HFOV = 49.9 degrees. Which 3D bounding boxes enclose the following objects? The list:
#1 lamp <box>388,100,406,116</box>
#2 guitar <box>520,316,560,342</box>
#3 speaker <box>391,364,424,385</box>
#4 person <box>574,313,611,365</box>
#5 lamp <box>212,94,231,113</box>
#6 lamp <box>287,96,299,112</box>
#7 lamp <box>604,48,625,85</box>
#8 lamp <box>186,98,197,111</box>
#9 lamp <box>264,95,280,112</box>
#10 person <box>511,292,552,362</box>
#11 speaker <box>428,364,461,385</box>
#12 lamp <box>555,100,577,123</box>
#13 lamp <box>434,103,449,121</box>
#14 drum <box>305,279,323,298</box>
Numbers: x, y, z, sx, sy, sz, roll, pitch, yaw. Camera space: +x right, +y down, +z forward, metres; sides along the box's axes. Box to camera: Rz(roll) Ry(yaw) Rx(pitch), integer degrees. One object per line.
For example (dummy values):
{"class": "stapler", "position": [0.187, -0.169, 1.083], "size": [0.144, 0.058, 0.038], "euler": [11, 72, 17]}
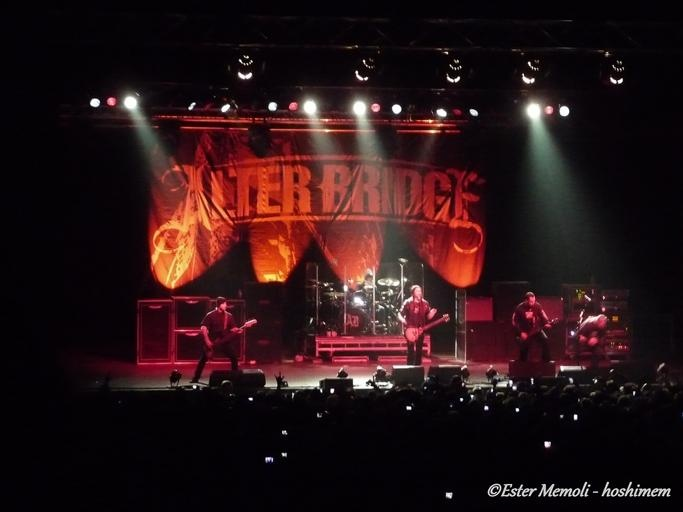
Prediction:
{"class": "lamp", "position": [1.067, -2.817, 14.157], "size": [0.260, 0.288, 0.464], "euler": [-1, 13, 3]}
{"class": "guitar", "position": [3.742, 1.385, 13.909], "size": [0.075, 0.229, 0.558], "euler": [-6, -24, -24]}
{"class": "speaker", "position": [1.002, 1.824, 11.239], "size": [0.504, 0.337, 0.271], "euler": [1, 1, -5]}
{"class": "person", "position": [4.900, 1.659, 14.354], "size": [0.627, 1.063, 1.221], "euler": [3, 13, 20]}
{"class": "lamp", "position": [-2.304, -2.923, 14.003], "size": [0.321, 0.256, 0.467], "euler": [3, 37, -1]}
{"class": "lamp", "position": [-0.953, -2.920, 14.076], "size": [0.253, 0.283, 0.110], "euler": [2, 0, -2]}
{"class": "lamp", "position": [4.891, -3.316, 13.082], "size": [0.369, 0.556, 0.190], "euler": [3, 14, 19]}
{"class": "lamp", "position": [-2.902, -2.880, 14.134], "size": [0.195, 0.178, 0.144], "euler": [1, 13, 12]}
{"class": "lamp", "position": [-1.346, -2.910, 14.055], "size": [0.248, 0.302, 0.252], "euler": [-2, 6, 7]}
{"class": "person", "position": [3.625, 1.448, 13.885], "size": [0.695, 1.553, 1.636], "euler": [1, 13, 14]}
{"class": "speaker", "position": [1.506, 1.751, 10.725], "size": [0.447, 0.231, 0.316], "euler": [2, -36, -6]}
{"class": "lamp", "position": [4.324, -2.775, 14.140], "size": [0.320, 0.368, 0.526], "euler": [6, 15, 30]}
{"class": "lamp", "position": [1.934, -2.764, 14.212], "size": [0.255, 0.272, 0.541], "euler": [0, 13, 9]}
{"class": "drum", "position": [-0.588, 0.719, 15.601], "size": [0.356, 0.663, 0.361], "euler": [1, -13, 0]}
